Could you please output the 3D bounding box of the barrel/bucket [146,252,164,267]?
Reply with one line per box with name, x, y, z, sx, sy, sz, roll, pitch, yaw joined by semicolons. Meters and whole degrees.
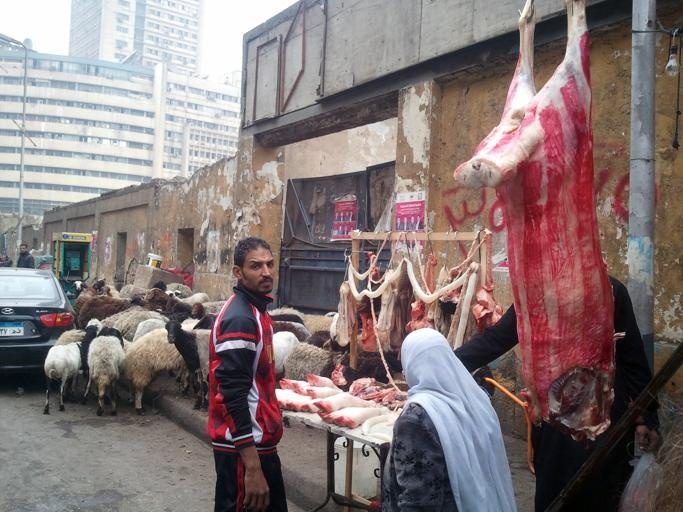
barrel/bucket;-4.690;0.053;15.630;0.401;0.350;0.438;3;-5;0
